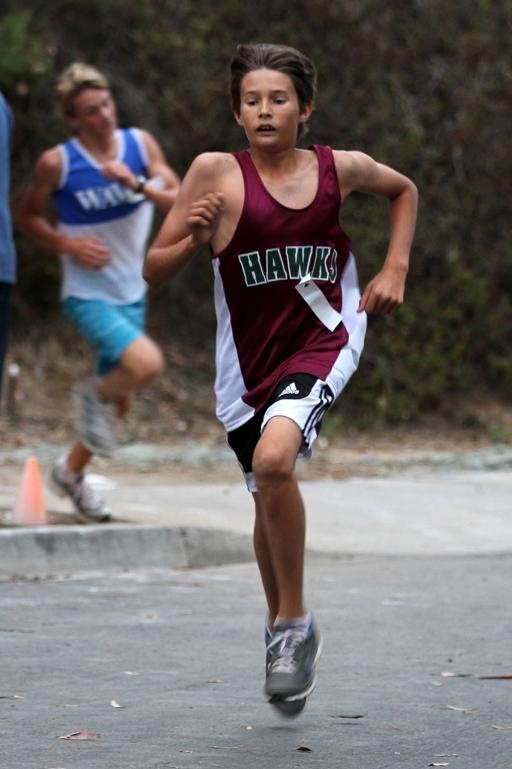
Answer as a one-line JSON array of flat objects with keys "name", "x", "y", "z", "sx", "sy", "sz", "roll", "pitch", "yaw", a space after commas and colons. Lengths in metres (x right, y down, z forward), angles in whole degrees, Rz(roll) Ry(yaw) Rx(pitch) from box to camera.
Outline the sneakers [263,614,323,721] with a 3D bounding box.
[{"name": "sneakers", "x": 0.094, "y": 0.640, "z": 2.315, "sx": 0.096, "sy": 0.093, "sz": 0.238, "roll": -4, "pitch": 21, "yaw": 9}]

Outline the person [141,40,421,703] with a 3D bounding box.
[{"name": "person", "x": -0.004, "y": 0.045, "z": 2.592, "sx": 0.640, "sy": 1.724, "sz": 1.241, "roll": 11, "pitch": 30, "yaw": 6}]

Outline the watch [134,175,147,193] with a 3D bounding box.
[{"name": "watch", "x": -0.519, "y": -0.908, "z": 4.482, "sx": 0.058, "sy": 0.071, "sz": 0.073, "roll": 5, "pitch": 57, "yaw": -3}]

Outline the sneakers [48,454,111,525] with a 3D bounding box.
[{"name": "sneakers", "x": -0.771, "y": 0.470, "z": 4.438, "sx": 0.168, "sy": 0.225, "sz": 0.301, "roll": -20, "pitch": 37, "yaw": -38}]
